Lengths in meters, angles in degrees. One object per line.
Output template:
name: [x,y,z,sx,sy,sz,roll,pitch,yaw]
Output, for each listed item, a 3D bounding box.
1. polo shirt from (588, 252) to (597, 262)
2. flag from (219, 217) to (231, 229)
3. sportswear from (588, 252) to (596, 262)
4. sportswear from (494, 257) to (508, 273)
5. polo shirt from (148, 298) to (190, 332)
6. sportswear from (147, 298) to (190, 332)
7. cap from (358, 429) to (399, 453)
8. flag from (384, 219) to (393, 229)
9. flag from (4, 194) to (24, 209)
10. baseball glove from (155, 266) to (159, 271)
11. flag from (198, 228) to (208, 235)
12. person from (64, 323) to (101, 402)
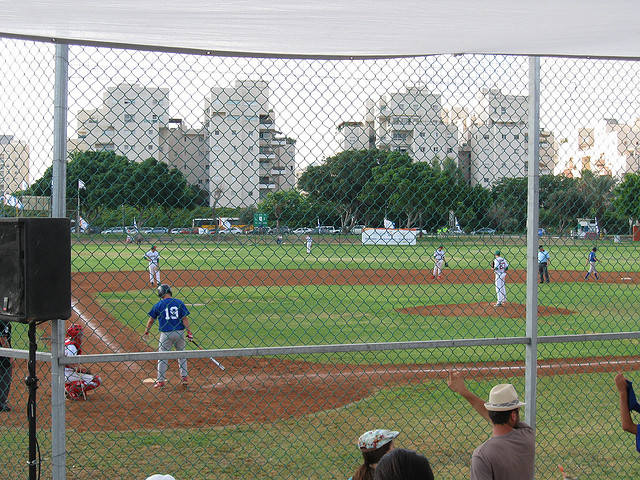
polo shirt: [8.003,0.525,32.704,0.177,0.343,0.296,6,-11,-29]
flag: [-1.197,-0.221,14.032,0.039,0.158,0.166,-20,-30,23]
sportswear: [7.953,0.521,32.518,0.172,0.344,0.296,2,-5,-13]
sportswear: [4.267,0.618,26.302,0.135,0.361,0.360,-7,-14,19]
polo shirt: [-2.365,1.232,17.624,0.762,0.673,0.274,-2,11,-11]
sportswear: [-2.268,1.184,16.947,0.647,0.579,0.264,-6,5,-11]
cap: [0.538,1.886,10.500,0.294,0.087,0.204,-21,21,-8]
flag: [0.852,-0.188,13.693,0.074,0.101,0.226,-1,2,10]
flag: [-3.263,-0.410,11.900,0.048,0.139,0.538,-4,6,-34]
baseball glove: [-4.579,0.842,31.407,0.135,0.137,0.033,-4,1,-26]
flag: [-1.483,-0.106,14.264,0.115,0.086,0.067,-1,-5,2]
person: [-3.438,1.774,16.283,0.504,1.130,2.462,-2,5,-12]
